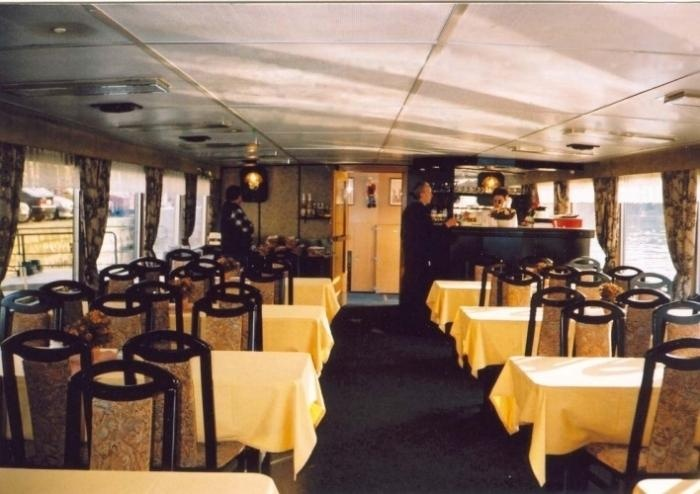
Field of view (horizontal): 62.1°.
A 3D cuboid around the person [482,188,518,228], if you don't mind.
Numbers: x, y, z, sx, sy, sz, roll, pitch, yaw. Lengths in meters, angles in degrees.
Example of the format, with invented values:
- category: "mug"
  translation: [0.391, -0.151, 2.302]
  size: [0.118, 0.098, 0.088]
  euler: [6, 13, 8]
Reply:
- category: "person"
  translation: [2.409, -0.631, 9.346]
  size: [0.607, 0.684, 0.466]
  euler: [0, 30, 17]

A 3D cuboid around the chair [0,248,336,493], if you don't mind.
- category: "chair"
  translation: [-1.125, 0.894, 4.736]
  size: [1.497, 2.238, 1.489]
  euler: [1, 11, 8]
